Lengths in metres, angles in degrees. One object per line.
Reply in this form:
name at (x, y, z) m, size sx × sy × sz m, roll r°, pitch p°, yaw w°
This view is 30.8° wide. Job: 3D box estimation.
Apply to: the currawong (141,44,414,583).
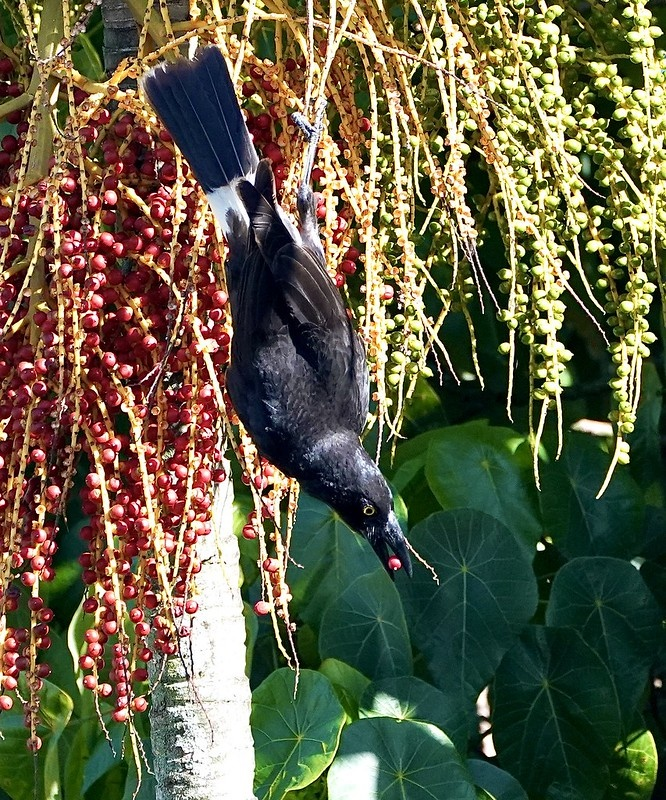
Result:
currawong at (-0.032, -0.091, 1.644) m, size 0.236 × 0.293 × 0.745 m, roll -17°, pitch -61°, yaw 9°
